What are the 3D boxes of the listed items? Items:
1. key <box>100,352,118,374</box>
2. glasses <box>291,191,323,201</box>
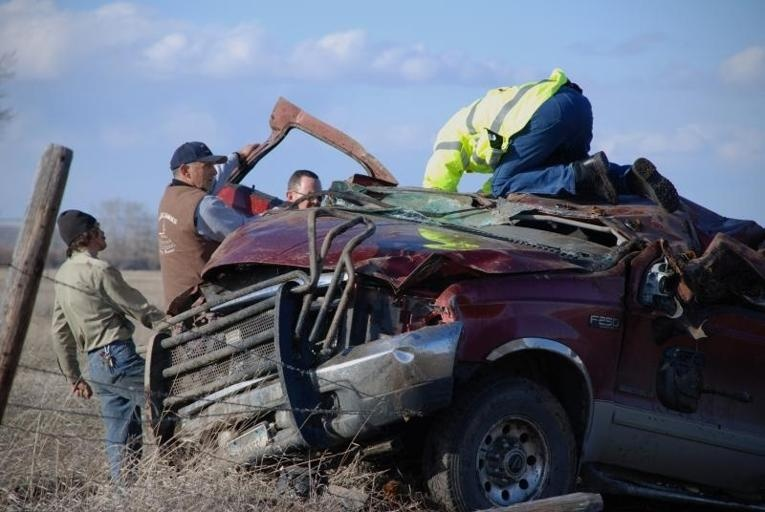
[{"bbox_3d":[-2.265,0.880,7.314,0.087,0.197,0.130,-19,5,13],"label":"key"},{"bbox_3d":[-0.748,-0.585,8.516,0.230,0.071,0.229,-3,-1,31],"label":"glasses"}]
